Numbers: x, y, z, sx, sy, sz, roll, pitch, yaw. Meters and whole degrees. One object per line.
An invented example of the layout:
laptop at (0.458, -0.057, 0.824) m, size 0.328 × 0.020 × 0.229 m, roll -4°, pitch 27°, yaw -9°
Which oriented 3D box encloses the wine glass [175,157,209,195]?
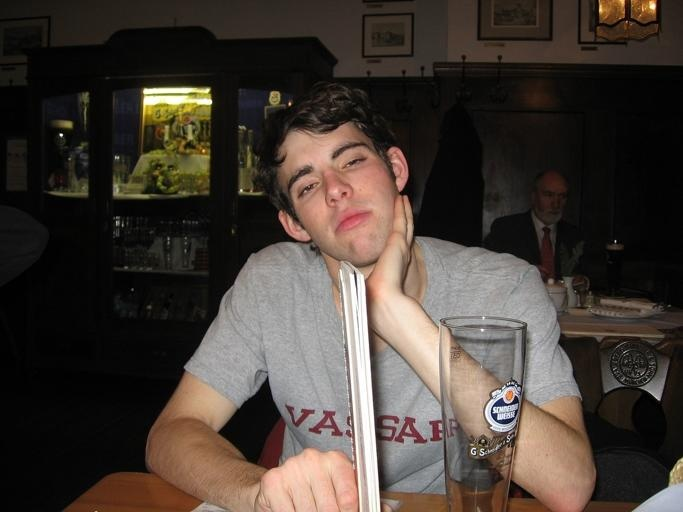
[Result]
wine glass at (-1.058, -0.615, 4.201) m, size 0.235 × 0.330 × 0.315 m, roll -7°, pitch 13°, yaw -28°

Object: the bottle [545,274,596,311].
bottle at (1.204, 0.196, 3.069) m, size 0.160 × 0.187 × 0.248 m, roll -4°, pitch -4°, yaw 40°

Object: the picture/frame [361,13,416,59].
picture/frame at (0.360, -1.748, 4.572) m, size 0.334 × 0.295 × 0.028 m, roll -1°, pitch 7°, yaw 0°
